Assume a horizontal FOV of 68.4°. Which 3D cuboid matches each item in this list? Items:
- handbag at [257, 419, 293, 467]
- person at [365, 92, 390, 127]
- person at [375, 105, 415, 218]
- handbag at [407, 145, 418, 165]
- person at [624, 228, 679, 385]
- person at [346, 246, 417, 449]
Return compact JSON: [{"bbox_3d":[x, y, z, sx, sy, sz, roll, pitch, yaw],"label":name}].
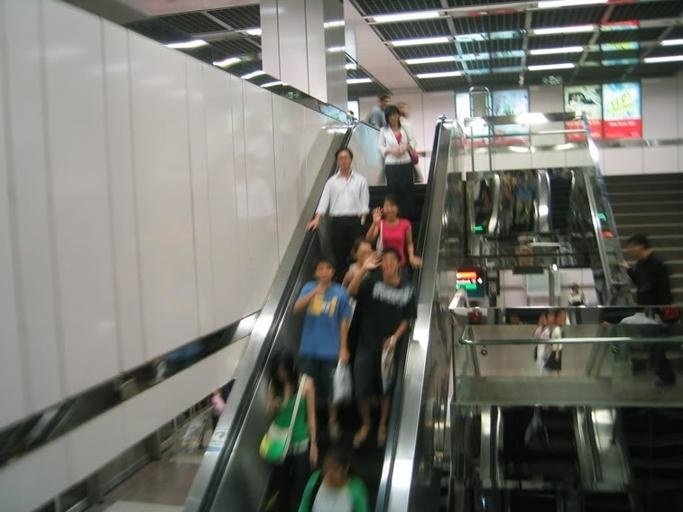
[{"bbox_3d":[-0.511,1.441,3.885,0.165,0.298,0.300,8,39,13],"label":"handbag"},{"bbox_3d":[0.607,-2.513,9.007,0.400,0.233,0.862,-14,-24,-15],"label":"person"},{"bbox_3d":[0.796,-1.236,6.847,0.480,1.684,0.494,-7,5,3],"label":"person"},{"bbox_3d":[0.989,-1.405,6.938,0.105,0.207,0.146,-41,32,-11],"label":"handbag"},{"bbox_3d":[3.530,0.457,5.773,0.506,1.417,2.769,2,3,28],"label":"person"},{"bbox_3d":[0.344,0.772,4.171,0.528,1.673,0.382,1,2,20],"label":"person"}]
